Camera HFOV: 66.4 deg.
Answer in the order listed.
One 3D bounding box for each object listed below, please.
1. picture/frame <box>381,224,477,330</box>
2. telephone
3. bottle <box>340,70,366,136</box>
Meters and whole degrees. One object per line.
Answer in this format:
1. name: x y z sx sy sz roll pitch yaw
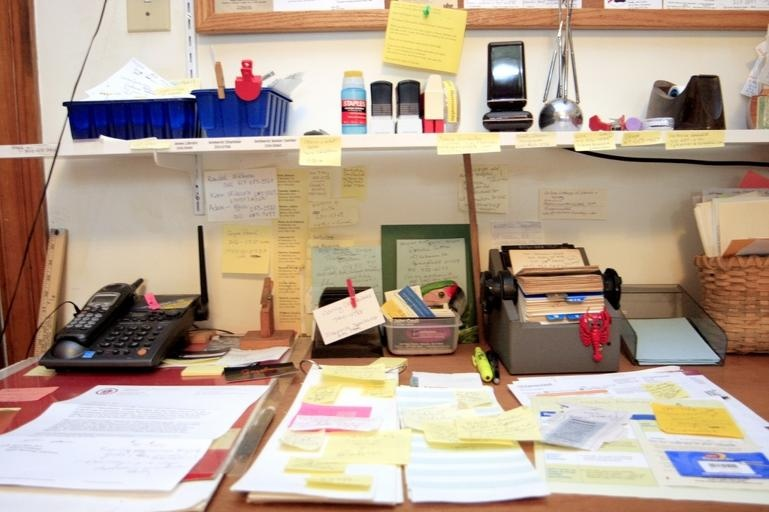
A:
1. picture/frame: 0.134 0.064 1.776 0.400 0.396 0.020 0 -4 -2
2. telephone: -0.733 0.186 1.723 0.374 0.130 0.400 -1 18 0
3. bottle: -0.084 -0.434 1.648 0.074 0.179 0.113 -2 10 -2
